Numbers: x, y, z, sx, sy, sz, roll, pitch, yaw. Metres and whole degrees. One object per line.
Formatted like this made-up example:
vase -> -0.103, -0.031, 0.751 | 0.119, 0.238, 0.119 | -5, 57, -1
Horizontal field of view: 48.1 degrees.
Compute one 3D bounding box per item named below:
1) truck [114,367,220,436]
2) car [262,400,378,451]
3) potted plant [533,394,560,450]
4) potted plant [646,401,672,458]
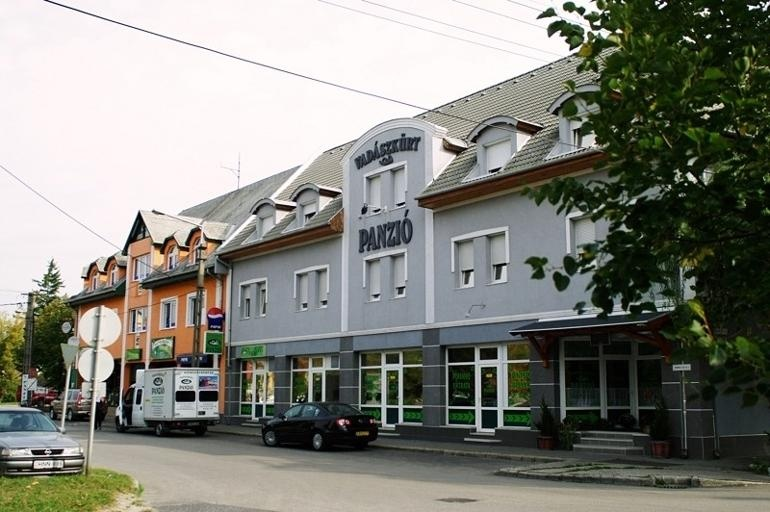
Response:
truck -> -8.896, 5.798, 35.076 | 2.449, 2.056, 4.158 | 8, -11, -41
car -> -2.171, 5.275, 27.158 | 3.196, 1.031, 1.583 | -9, -15, 44
potted plant -> 4.894, 5.060, 25.851 | 0.916, 1.511, 0.877 | 2, -10, -40
potted plant -> 7.624, 4.789, 23.488 | 0.545, 1.345, 0.531 | 15, -6, -6
